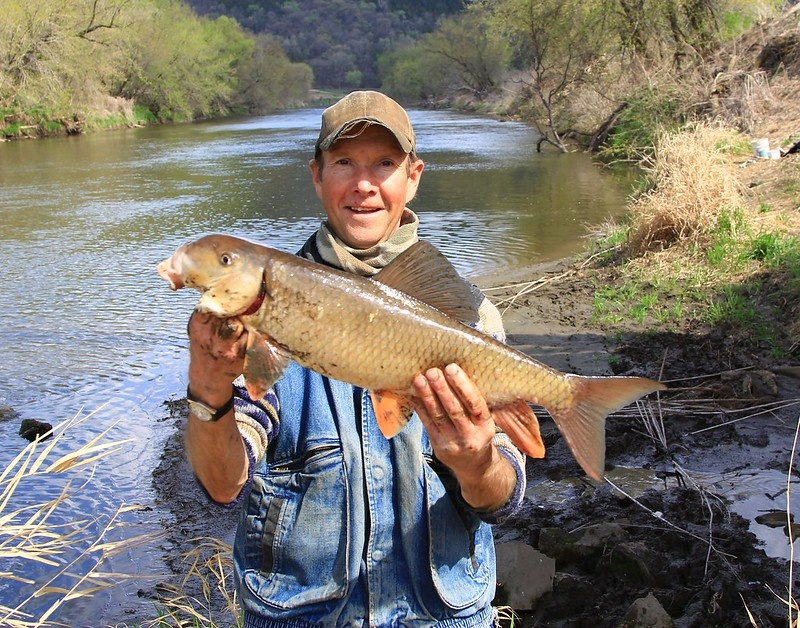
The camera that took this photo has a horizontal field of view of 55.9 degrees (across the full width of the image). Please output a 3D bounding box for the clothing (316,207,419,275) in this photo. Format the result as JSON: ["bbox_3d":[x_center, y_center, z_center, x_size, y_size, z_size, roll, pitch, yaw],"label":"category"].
[{"bbox_3d":[-0.126,-0.335,3.910,0.516,0.181,0.353,-13,33,-7],"label":"clothing"}]

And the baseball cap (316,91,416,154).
[{"bbox_3d":[-0.188,-1.032,4.016,0.501,0.253,0.557,-2,15,-14],"label":"baseball cap"}]

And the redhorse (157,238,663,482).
[{"bbox_3d":[0.010,0.144,3.475,2.276,0.735,0.683,20,19,19],"label":"redhorse"}]
